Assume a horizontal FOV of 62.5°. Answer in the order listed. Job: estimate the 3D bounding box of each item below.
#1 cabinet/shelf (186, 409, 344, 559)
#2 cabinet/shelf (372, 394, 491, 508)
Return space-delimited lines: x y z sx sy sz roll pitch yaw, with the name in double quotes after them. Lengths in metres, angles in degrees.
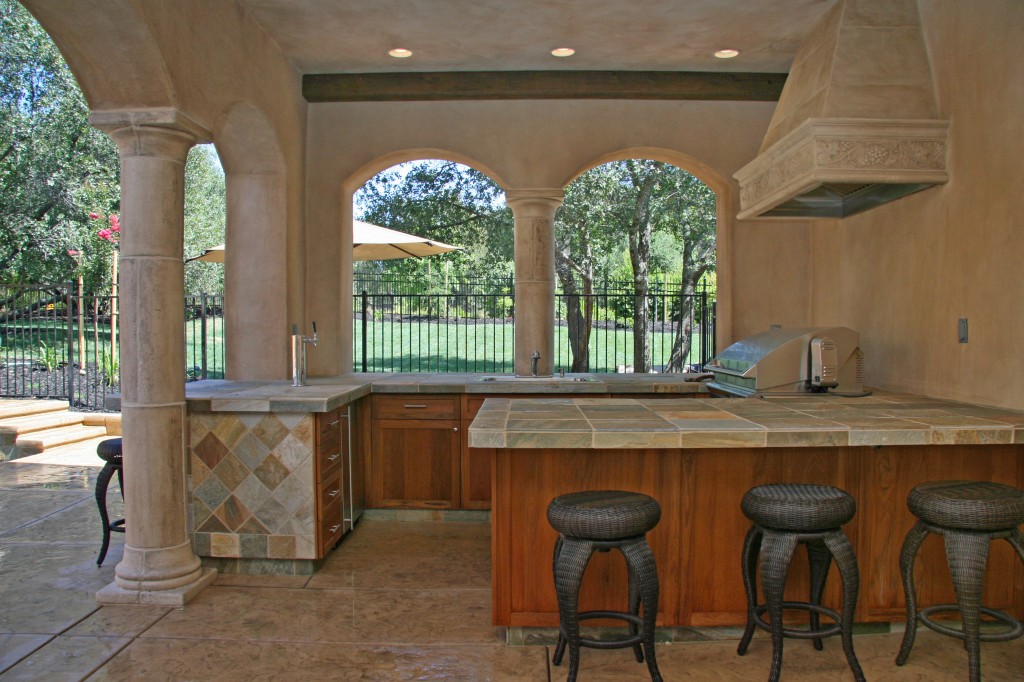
-1.968 1.031 6.851 0.970 1.196 1.257 2 8 -4 "cabinet/shelf"
-0.681 0.909 7.112 1.045 0.852 0.421 0 -1 1 "cabinet/shelf"
